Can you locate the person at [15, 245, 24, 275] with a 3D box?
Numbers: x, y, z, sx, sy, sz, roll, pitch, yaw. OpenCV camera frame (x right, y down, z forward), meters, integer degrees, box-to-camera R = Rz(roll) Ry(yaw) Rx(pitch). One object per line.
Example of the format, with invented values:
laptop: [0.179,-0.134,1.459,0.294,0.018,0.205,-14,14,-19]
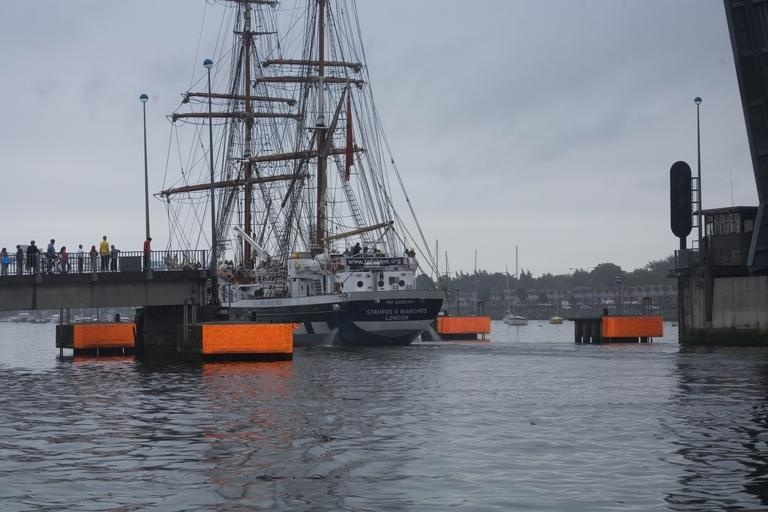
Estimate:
person: [-21.169,0.282,74.707,0.468,1.690,1.085,-1,-4,-16]

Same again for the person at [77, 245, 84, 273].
person: [-18.103,0.242,76.889,0.449,1.570,2.423,-1,-4,-13]

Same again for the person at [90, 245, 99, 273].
person: [-17.471,0.319,77.490,0.444,1.567,2.690,-1,-4,-13]
